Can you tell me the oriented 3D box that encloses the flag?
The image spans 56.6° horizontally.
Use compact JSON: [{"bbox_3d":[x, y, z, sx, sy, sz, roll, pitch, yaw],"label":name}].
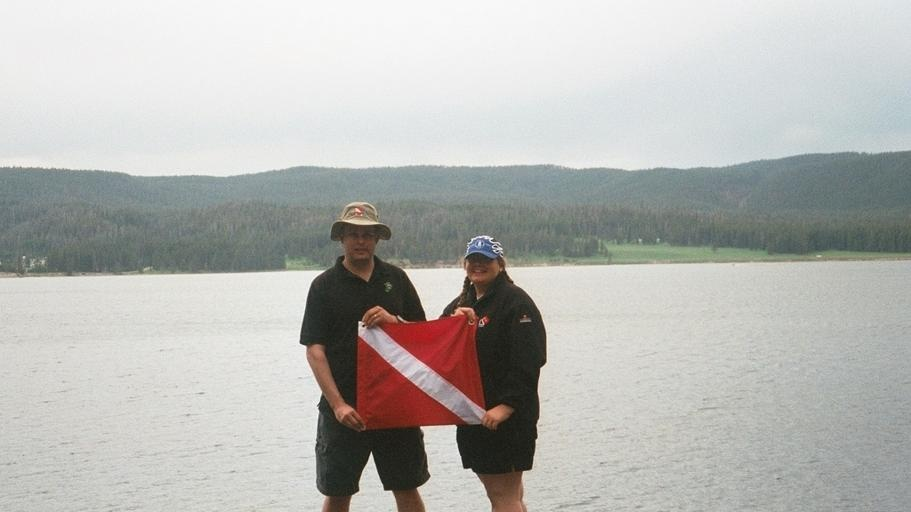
[{"bbox_3d":[-0.923,2.949,21.191,3.314,2.487,0.351,-2,-2,-1],"label":"flag"}]
